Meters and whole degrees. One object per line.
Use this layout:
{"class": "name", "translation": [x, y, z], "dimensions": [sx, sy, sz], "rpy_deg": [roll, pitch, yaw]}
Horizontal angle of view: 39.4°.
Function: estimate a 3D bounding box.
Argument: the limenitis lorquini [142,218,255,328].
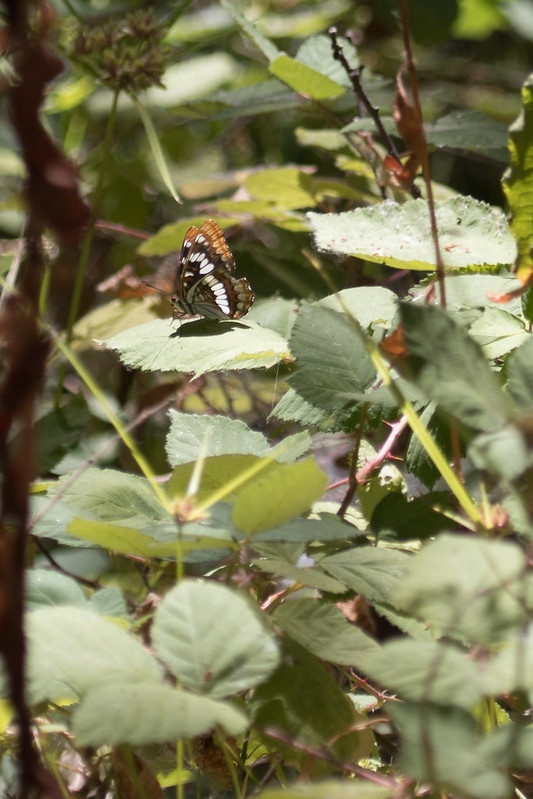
{"class": "limenitis lorquini", "translation": [-0.073, -0.162, 0.923], "dimensions": [0.097, 0.128, 0.141], "rpy_deg": [-11, 23, -11]}
